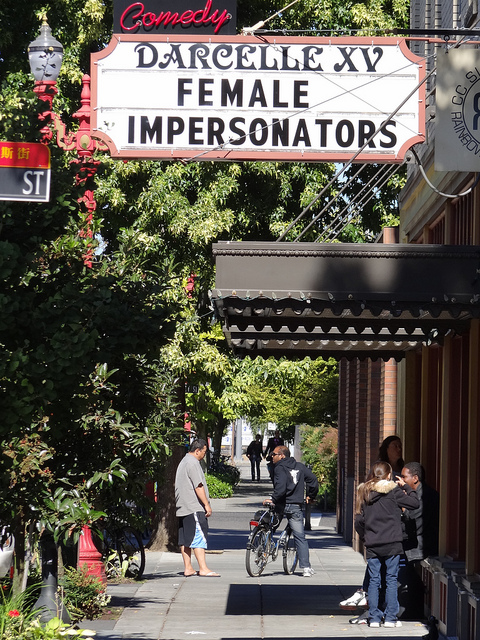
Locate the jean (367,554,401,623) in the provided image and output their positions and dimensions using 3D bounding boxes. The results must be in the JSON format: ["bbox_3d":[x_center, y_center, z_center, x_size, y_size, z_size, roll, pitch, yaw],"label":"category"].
[{"bbox_3d":[1.386,2.528,8.107,0.295,0.877,0.236,-1,19,5],"label":"jean"}]

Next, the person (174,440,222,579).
[{"bbox_3d":[-0.663,2.807,12.346,0.545,2.126,1.586,-3,-2,-5],"label":"person"}]

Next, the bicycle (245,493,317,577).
[{"bbox_3d":[0.557,3.140,12.204,0.834,1.169,1.759,17,-21,-24],"label":"bicycle"}]

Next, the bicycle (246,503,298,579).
[{"bbox_3d":[0.403,3.272,12.477,0.630,0.858,1.345,0,1,18],"label":"bicycle"}]

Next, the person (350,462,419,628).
[{"bbox_3d":[1.454,2.238,8.296,0.571,1.311,0.771,-4,-2,5],"label":"person"}]
